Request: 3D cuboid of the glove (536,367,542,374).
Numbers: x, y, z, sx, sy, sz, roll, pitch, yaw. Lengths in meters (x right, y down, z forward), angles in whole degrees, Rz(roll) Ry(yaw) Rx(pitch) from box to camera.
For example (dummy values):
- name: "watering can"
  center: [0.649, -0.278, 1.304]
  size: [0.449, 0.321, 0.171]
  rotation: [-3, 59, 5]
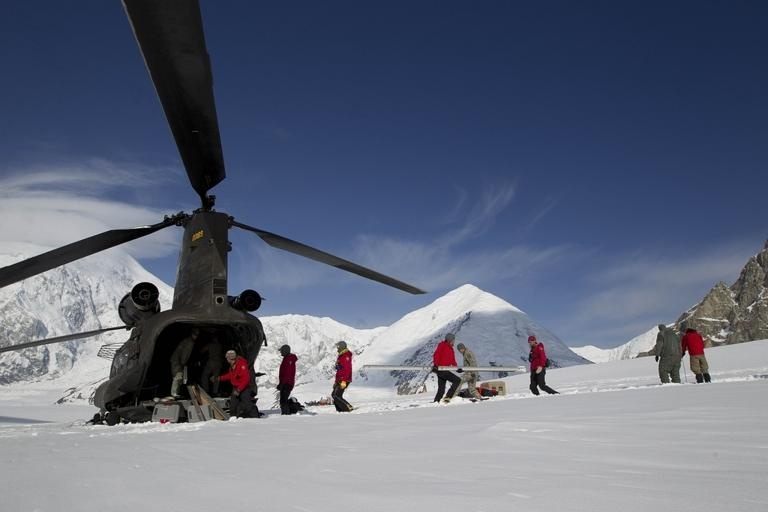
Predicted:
- name: "glove"
  center: [4.441, 3.243, 13.827]
  size: [0.154, 0.187, 0.076]
  rotation: [-4, -13, 9]

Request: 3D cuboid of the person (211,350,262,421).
- name: "person"
  center: [-3.629, 3.129, 11.811]
  size: [1.113, 1.881, 0.836]
  rotation: [14, -50, -40]
